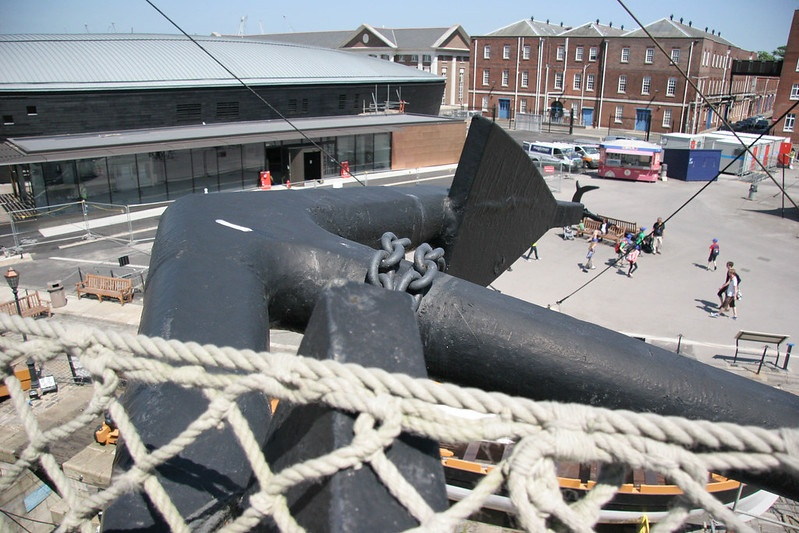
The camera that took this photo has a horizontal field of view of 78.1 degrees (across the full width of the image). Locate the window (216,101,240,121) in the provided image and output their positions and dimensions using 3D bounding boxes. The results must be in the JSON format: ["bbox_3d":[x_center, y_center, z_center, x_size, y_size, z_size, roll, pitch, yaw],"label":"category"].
[{"bbox_3d":[-10.817,-9.745,31.011,0.314,1.168,1.296,22,26,35],"label":"window"}]

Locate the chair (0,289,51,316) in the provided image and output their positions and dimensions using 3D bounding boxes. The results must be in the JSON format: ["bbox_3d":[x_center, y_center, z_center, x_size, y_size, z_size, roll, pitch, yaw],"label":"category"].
[{"bbox_3d":[-12.473,1.312,16.516,1.280,0.825,1.794,-8,14,-39],"label":"chair"}]

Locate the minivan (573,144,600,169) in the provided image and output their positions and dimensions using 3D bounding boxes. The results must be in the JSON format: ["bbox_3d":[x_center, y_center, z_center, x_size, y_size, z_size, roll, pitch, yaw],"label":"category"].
[{"bbox_3d":[16.515,-9.558,42.880,1.590,1.292,2.646,-10,16,-27],"label":"minivan"}]
